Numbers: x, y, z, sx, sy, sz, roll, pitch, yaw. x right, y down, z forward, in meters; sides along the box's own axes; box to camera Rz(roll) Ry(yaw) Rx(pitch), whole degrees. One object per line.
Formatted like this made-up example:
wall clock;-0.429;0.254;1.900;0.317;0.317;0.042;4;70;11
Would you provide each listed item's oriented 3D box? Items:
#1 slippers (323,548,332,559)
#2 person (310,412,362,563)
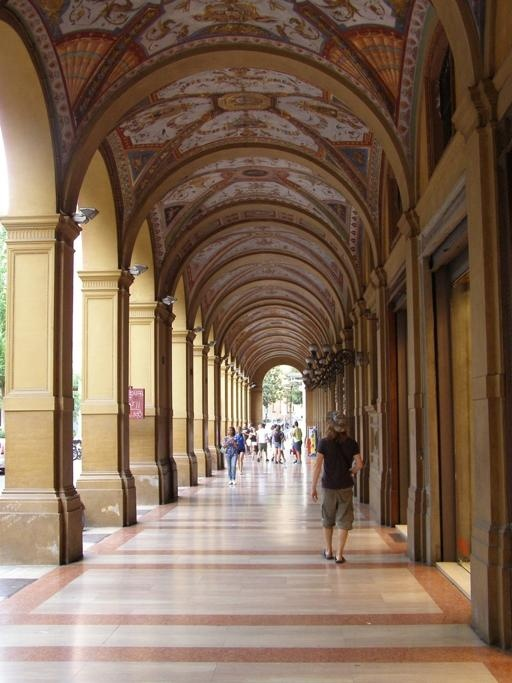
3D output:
slippers;0.807;2.348;6.216;0.044;0.059;0.131;0;-1;-6
person;0.949;1.636;6.478;0.562;1.586;1.475;-2;-9;6
